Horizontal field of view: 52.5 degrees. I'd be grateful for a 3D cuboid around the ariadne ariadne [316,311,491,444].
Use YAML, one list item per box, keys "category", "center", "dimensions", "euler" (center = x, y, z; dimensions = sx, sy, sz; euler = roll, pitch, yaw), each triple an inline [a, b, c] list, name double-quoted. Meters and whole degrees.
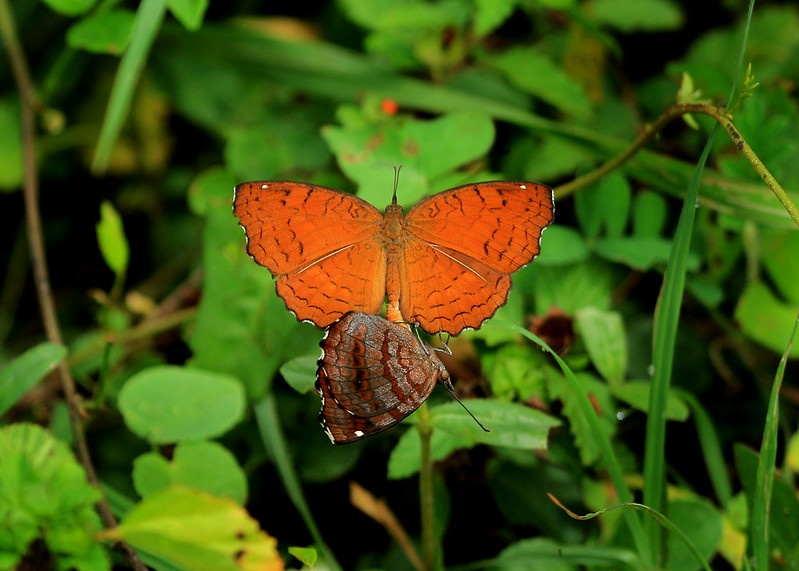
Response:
- category: "ariadne ariadne"
  center: [-0.034, 0.145, 1.373]
  dimensions: [0.217, 0.221, 0.138]
  euler: [-9, 7, -12]
